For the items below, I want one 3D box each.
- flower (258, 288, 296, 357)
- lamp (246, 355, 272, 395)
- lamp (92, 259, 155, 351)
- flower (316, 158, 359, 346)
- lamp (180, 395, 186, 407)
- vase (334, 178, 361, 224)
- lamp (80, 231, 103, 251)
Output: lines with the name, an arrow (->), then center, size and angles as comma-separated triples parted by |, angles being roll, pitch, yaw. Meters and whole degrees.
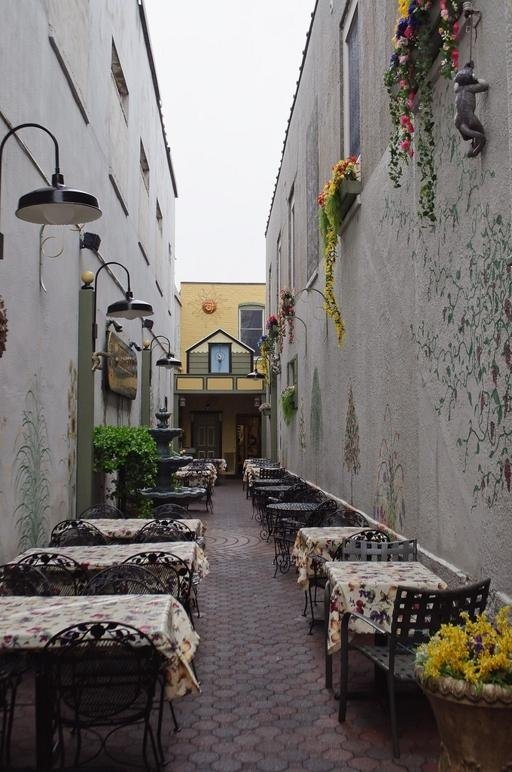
flower -> 0.496, -1.444, 14.428 | 0.337, 0.773, 1.838 | 4, -19, -4
lamp -> 0.128, -0.405, 21.286 | 0.792, 1.388, 1.036 | 0, -2, 5
lamp -> -1.517, -0.817, 7.477 | 0.645, 1.433, 0.541 | 2, -16, -30
flower -> 0.942, -1.495, 7.600 | 0.421, 2.004, 1.608 | -1, -4, 4
lamp -> -2.855, 0.530, 25.195 | 0.217, 0.640, 0.522 | -1, -1, -1
vase -> 0.993, -2.034, 7.175 | 0.203, 0.301, 0.702 | -1, -5, 0
lamp -> -1.861, -1.615, 7.315 | 0.206, 0.207, 0.230 | 1, -5, -20
